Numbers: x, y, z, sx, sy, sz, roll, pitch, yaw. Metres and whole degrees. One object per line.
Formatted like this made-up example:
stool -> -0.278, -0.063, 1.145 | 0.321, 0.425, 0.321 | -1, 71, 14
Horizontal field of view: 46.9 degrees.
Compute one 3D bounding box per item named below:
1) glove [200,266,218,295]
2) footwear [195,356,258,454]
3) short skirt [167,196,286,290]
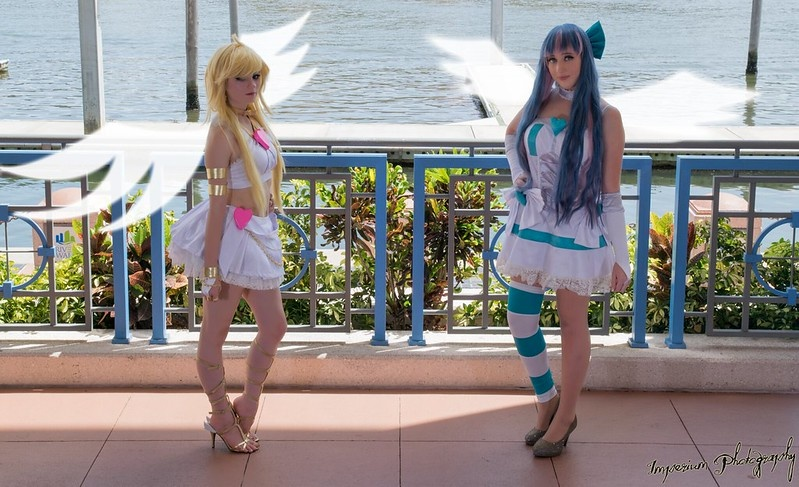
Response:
glove -> -1.395, 0.277, 6.717 | 0.067, 0.180, 0.135 | 8, 9, -8
footwear -> -1.311, 1.237, 7.038 | 0.488, 0.719, 0.276 | -1, 11, 22
short skirt -> -1.345, -0.019, 7.052 | 0.867, 0.583, 0.829 | 0, 6, -21
